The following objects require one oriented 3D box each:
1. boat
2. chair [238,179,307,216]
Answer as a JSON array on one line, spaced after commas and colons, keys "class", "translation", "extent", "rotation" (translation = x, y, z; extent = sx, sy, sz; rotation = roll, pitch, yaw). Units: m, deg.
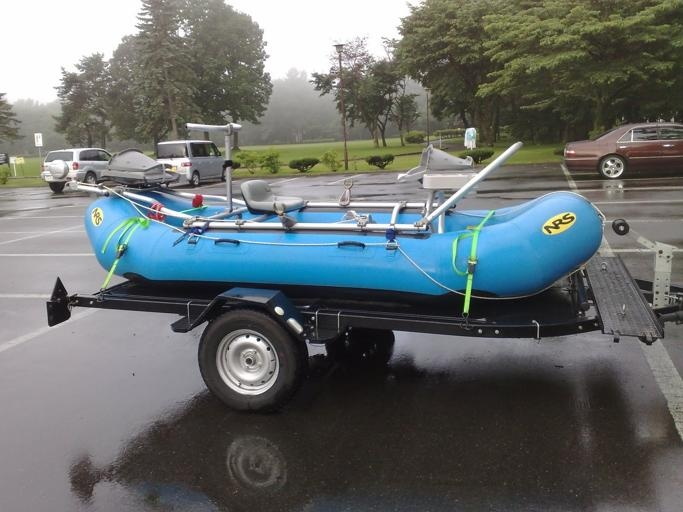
[{"class": "boat", "translation": [0.106, -0.240, 5.911], "extent": [5.633, 2.033, 2.427], "rotation": [1, 12, 14]}, {"class": "chair", "translation": [-0.758, -0.675, 6.065], "extent": [0.615, 0.364, 0.756], "rotation": [3, 11, 26]}]
